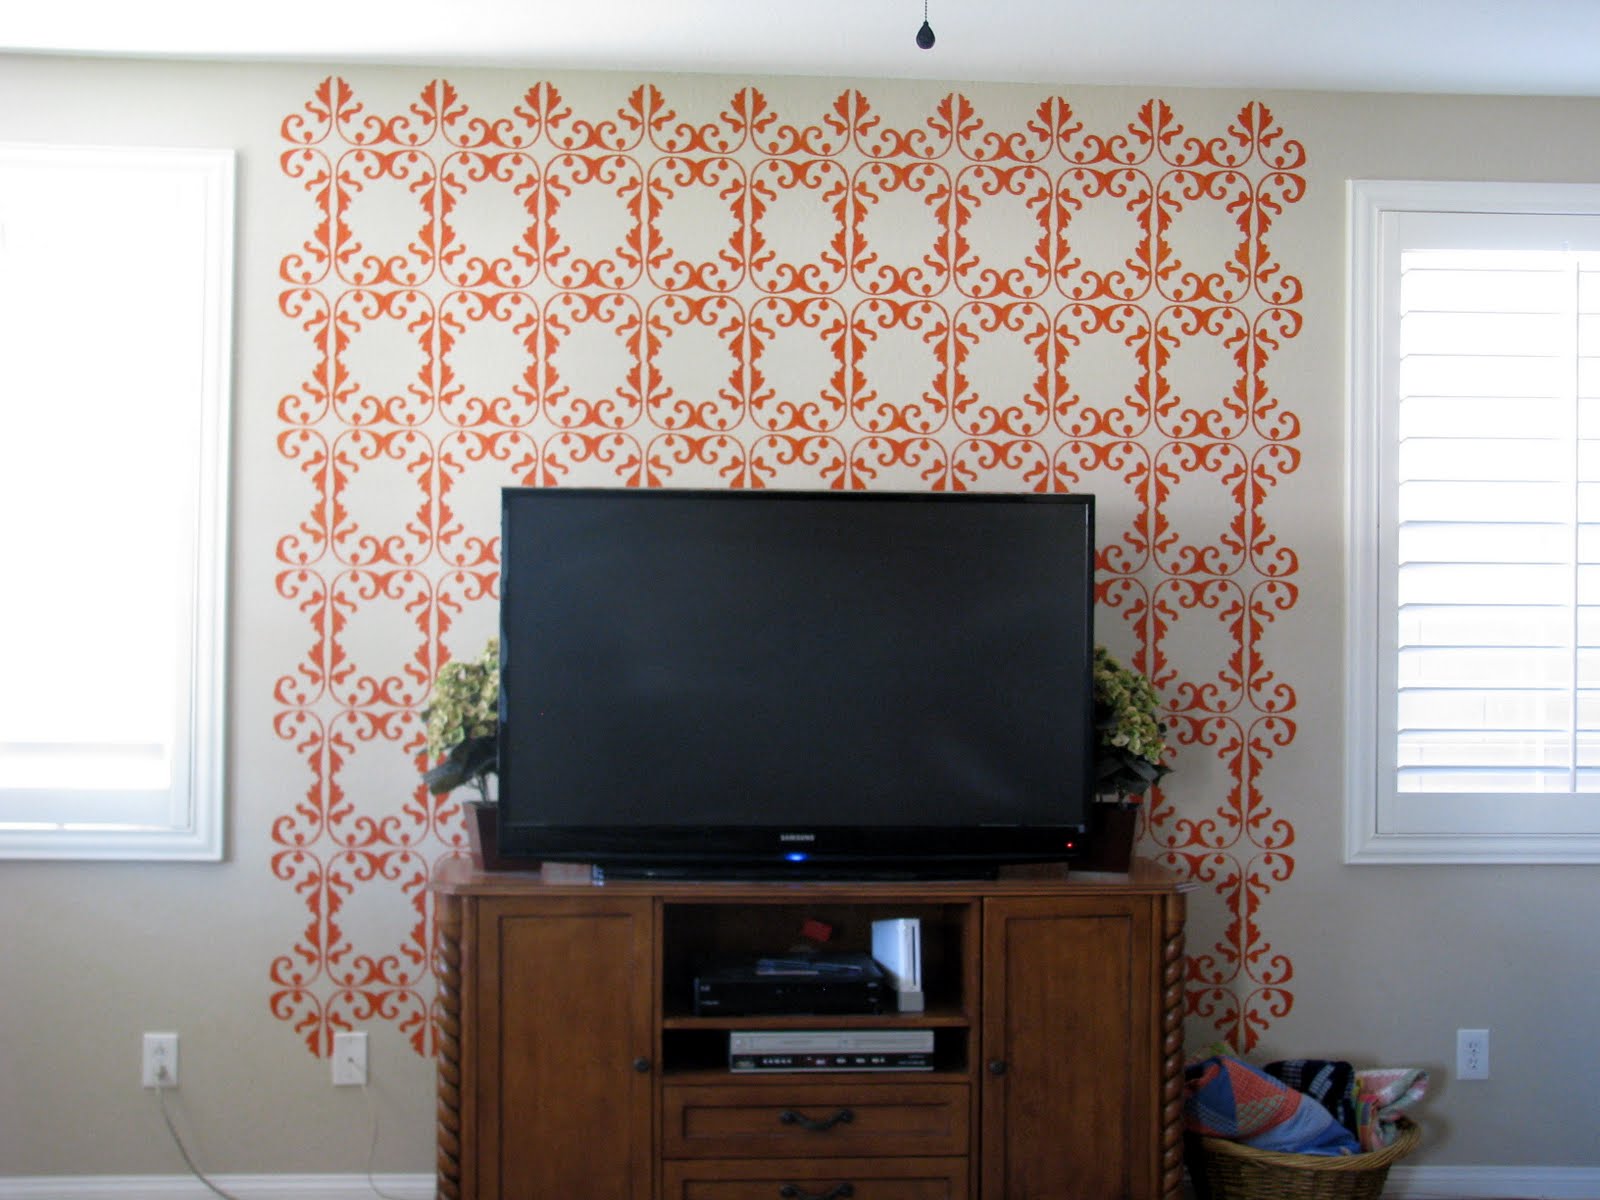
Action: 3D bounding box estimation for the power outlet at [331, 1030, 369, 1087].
[{"bbox_3d":[-1.206,1.242,4.551,0.140,0.192,0.021,0,1,-2],"label":"power outlet"}]

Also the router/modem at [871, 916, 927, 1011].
[{"bbox_3d":[0.255,0.931,4.290,0.077,0.203,0.220,0,-4,-6],"label":"router/modem"}]
